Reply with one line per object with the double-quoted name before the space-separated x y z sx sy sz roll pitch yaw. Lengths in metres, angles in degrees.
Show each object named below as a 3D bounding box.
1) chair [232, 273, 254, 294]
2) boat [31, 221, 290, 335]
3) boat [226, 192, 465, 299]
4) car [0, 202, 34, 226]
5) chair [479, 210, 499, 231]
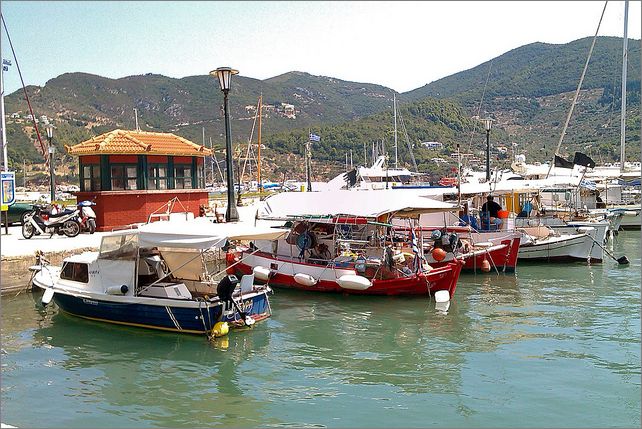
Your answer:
"chair" -2.496 2.211 20.055 0.624 0.649 0.526 8 5 28
"boat" -5.667 1.845 20.556 6.886 2.129 3.564 5 6 20
"boat" 1.193 1.108 24.084 9.744 3.343 3.804 1 6 21
"car" -15.416 -0.055 31.480 2.166 0.840 1.102 1 1 -13
"chair" 7.633 0.315 28.365 0.900 1.147 0.762 -1 7 6
